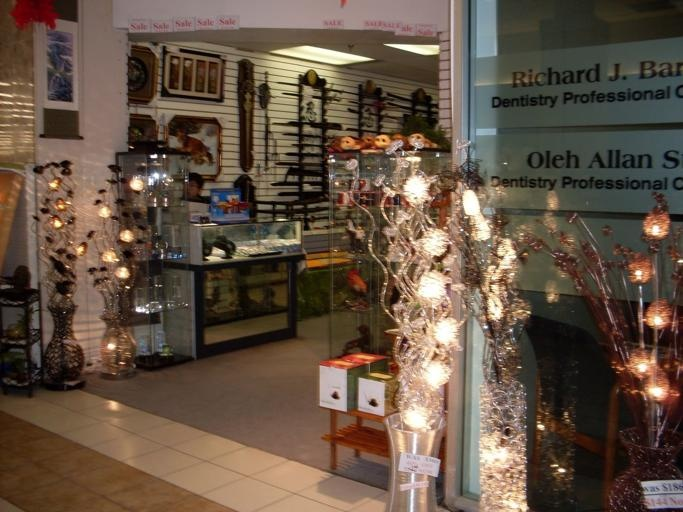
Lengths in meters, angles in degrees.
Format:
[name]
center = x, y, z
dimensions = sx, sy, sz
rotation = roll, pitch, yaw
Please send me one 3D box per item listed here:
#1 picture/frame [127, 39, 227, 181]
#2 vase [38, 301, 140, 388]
[picture/frame]
center = -2.618, -2.279, 8.988
dimensions = 0.440, 2.145, 1.896
rotation = 5, 9, 26
[vase]
center = -2.705, 0.954, 5.897
dimensions = 1.055, 0.806, 0.401
rotation = -3, 8, -35
